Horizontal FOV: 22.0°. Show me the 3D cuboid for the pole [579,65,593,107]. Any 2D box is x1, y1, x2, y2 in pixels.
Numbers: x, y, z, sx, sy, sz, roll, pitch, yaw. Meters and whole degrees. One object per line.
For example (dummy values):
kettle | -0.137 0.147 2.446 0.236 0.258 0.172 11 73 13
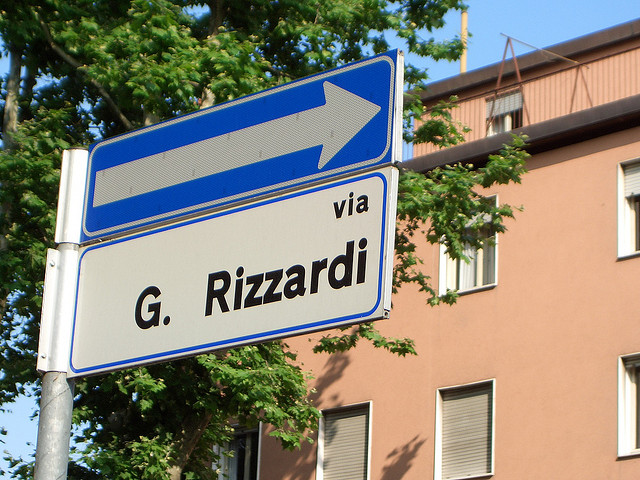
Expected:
pole | 5.389 -3.152 33.458 0.115 0.911 0.069 -7 -23 -24
